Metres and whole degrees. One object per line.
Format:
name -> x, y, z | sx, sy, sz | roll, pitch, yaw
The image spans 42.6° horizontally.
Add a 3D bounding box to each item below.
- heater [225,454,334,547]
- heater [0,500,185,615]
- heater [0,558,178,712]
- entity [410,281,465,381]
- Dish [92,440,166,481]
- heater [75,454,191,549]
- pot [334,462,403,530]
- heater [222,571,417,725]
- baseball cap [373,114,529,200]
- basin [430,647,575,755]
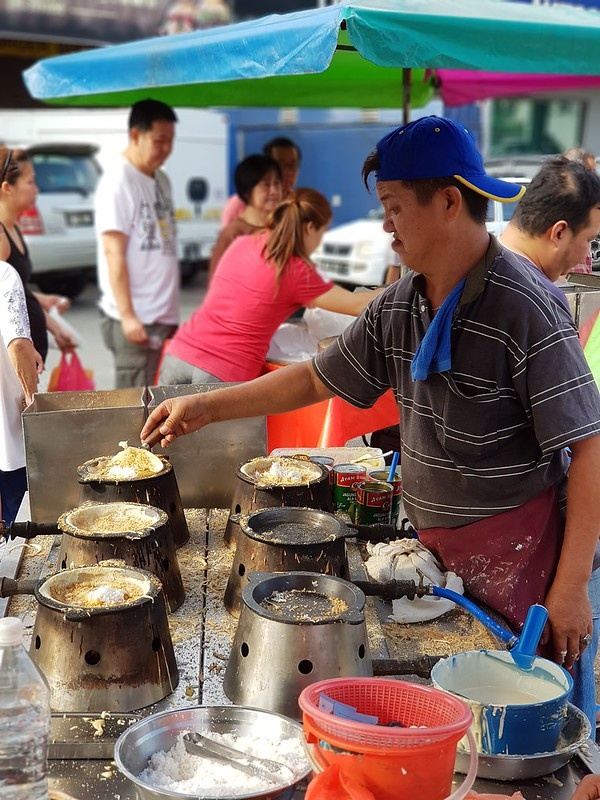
heater -> -0.058, 0.248, 2.097 | 0.291, 0.155, 0.266 | 0, 6, -6
heater -> -0.476, 0.369, 1.751 | 0.352, 0.109, 0.205 | -1, 10, -4
heater -> -0.369, 0.439, 1.406 | 0.311, 0.104, 0.196 | 3, 12, 14
entity -> 0.305, -0.155, 1.759 | 0.064, 0.239, 0.109 | -1, 12, -23
Dish -> -0.468, 0.164, 2.097 | 0.111, 0.043, 0.121 | -1, 7, 23
heater -> -0.462, 0.283, 2.093 | 0.288, 0.172, 0.267 | -4, 12, -28
pot -> 0.239, 0.281, 2.395 | 0.208, 0.186, 0.195 | 0, 11, 0
heater -> 0.003, 0.419, 1.396 | 0.255, 0.133, 0.243 | 5, 4, 22
baseball cap -> 0.301, -0.512, 1.641 | 0.319, 0.139, 0.165 | 2, 13, -1
basin -> 0.339, 0.508, 1.318 | 0.212, 0.089, 0.189 | 2, 10, 20
